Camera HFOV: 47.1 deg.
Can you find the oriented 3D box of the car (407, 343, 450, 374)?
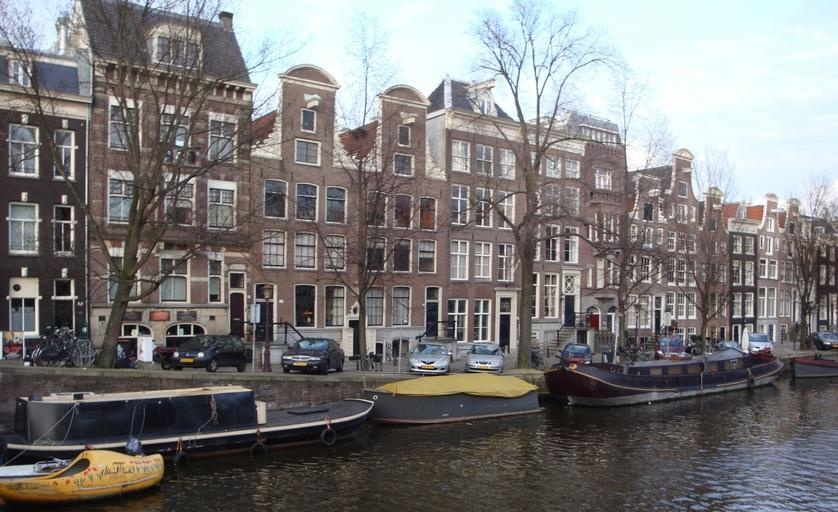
[{"bbox_3d":[0.653,6.222,57.199,2.185,1.564,2.414,3,9,8],"label":"car"}]

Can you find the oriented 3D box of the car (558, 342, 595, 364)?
[{"bbox_3d":[9.669,5.995,59.228,1.282,0.847,1.875,-3,-12,16],"label":"car"}]

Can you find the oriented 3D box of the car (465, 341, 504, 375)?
[{"bbox_3d":[3.928,6.268,57.741,2.127,1.233,3.373,2,8,1],"label":"car"}]

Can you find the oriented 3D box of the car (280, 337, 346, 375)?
[{"bbox_3d":[-6.073,5.877,54.815,2.150,1.943,3.832,8,10,32],"label":"car"}]

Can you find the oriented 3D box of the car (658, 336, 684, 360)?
[{"bbox_3d":[18.148,6.538,69.472,1.401,1.310,2.519,-3,-13,17],"label":"car"}]
